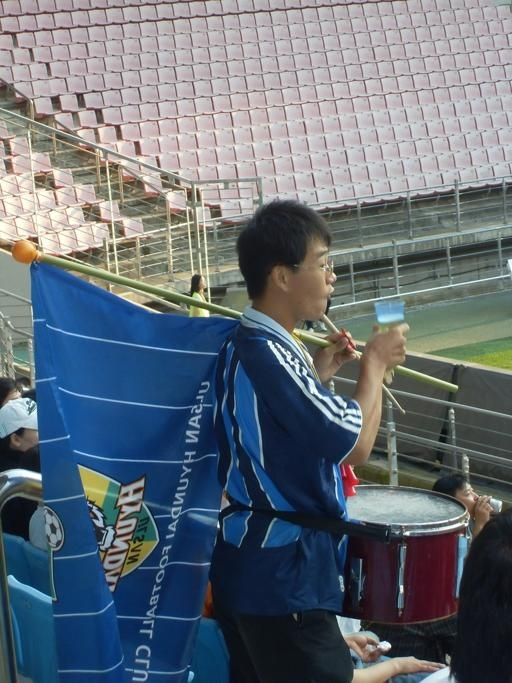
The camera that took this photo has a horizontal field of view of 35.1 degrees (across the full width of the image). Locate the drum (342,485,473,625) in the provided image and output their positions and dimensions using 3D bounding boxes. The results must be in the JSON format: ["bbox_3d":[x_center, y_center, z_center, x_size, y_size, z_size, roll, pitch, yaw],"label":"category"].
[{"bbox_3d":[0.327,0.463,1.835,0.402,0.214,0.348,1,5,-1],"label":"drum"}]
